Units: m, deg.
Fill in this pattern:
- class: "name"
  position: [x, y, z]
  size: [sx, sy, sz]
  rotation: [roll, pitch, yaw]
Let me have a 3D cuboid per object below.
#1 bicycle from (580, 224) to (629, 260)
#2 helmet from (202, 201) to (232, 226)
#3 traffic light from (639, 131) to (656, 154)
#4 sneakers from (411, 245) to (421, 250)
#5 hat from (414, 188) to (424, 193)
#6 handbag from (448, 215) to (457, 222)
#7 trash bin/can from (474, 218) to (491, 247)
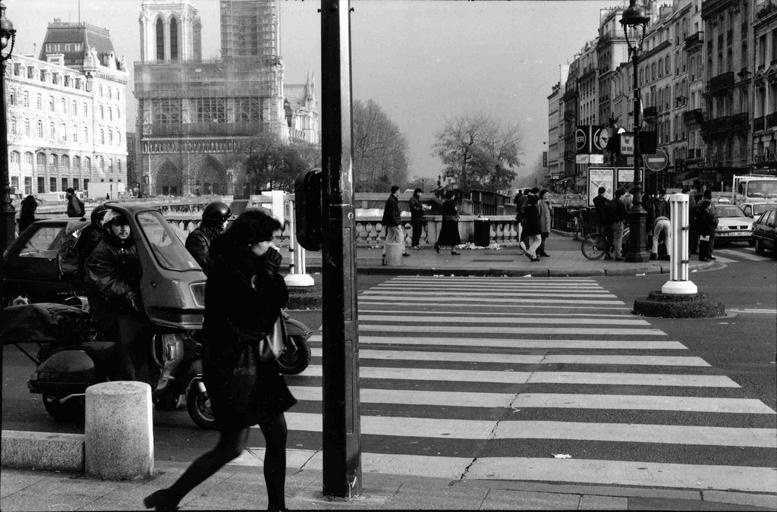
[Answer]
- class: "bicycle"
  position: [5.983, -0.345, 28.445]
  size: [1.377, 0.985, 0.732]
  rotation: [-2, 15, 2]
- class: "helmet"
  position: [-2.467, -0.570, 14.378]
  size: [0.266, 0.298, 0.351]
  rotation: [14, 37, 40]
- class: "traffic light"
  position: [6.899, -3.009, 26.952]
  size: [0.516, 0.536, 0.365]
  rotation: [6, 6, 18]
- class: "sneakers"
  position: [0.929, -0.281, 34.126]
  size: [0.263, 0.125, 0.104]
  rotation: [-1, 11, 10]
- class: "hat"
  position: [0.906, -1.931, 30.693]
  size: [0.184, 0.215, 0.159]
  rotation: [11, 12, -10]
- class: "handbag"
  position: [2.007, -1.146, 31.313]
  size: [0.181, 0.060, 0.216]
  rotation: [7, 33, 8]
- class: "trash bin/can"
  position: [3.188, -0.784, 34.413]
  size: [0.731, 1.202, 0.718]
  rotation: [-1, 5, -3]
